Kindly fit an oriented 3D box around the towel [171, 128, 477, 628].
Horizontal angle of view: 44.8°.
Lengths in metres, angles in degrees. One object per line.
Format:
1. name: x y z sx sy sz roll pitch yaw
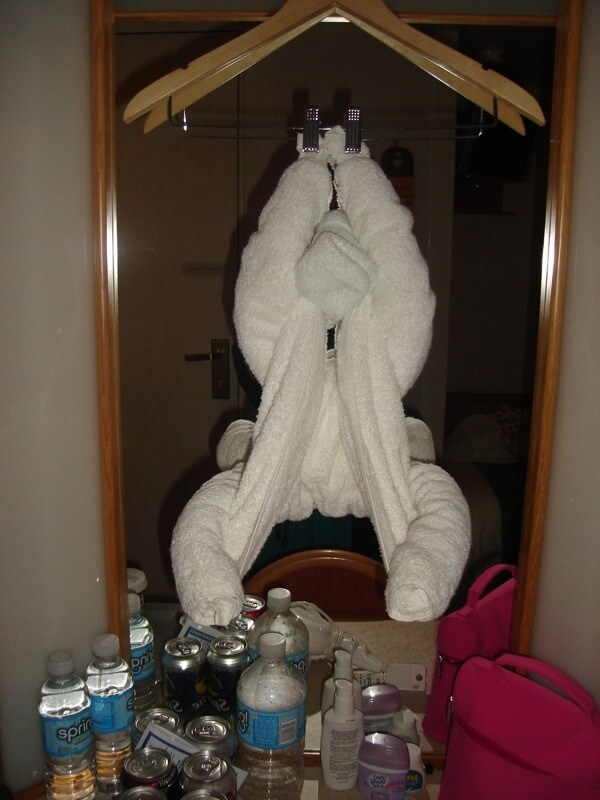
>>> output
1. towel: 0.027 -0.056 0.838 0.332 0.519 0.361 1 13 2
